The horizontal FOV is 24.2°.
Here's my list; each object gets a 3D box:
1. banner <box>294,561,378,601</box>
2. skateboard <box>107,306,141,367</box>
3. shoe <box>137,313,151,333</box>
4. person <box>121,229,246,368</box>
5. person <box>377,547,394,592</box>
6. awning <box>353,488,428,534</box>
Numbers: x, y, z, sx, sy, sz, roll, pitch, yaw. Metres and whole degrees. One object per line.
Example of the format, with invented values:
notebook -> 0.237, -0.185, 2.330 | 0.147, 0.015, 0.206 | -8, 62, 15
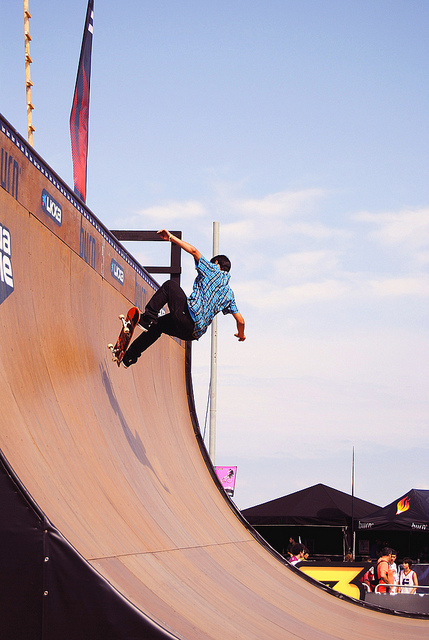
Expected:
banner -> 1.710, 3.299, 12.415 | 0.069, 0.476, 0.735 | 29, -26, -21
skateboard -> -0.730, 0.125, 8.238 | 0.106, 0.169, 0.726 | -34, -21, -42
shoe -> -0.574, 0.010, 8.166 | 0.101, 0.157, 0.263 | 2, -10, -3
person -> -0.407, -0.106, 9.090 | 1.191, 0.741, 1.167 | -23, -44, -23
person -> 2.343, 3.439, 13.680 | 0.235, 0.522, 1.000 | 0, -10, 10
awning -> 3.531, 3.649, 19.066 | 1.377, 0.799, 1.493 | -5, -12, 32
